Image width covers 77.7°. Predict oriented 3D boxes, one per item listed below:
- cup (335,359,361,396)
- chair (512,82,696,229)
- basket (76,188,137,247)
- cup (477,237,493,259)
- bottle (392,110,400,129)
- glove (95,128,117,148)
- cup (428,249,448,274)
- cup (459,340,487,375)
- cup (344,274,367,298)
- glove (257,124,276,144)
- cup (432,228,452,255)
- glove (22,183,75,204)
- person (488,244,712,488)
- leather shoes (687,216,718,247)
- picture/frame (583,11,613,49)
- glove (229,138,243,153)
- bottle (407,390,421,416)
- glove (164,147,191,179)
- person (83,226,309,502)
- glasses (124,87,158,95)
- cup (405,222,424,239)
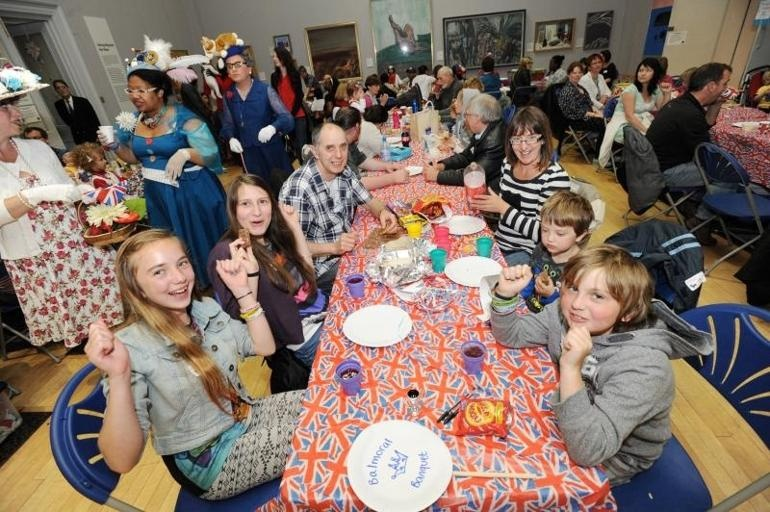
[{"bbox_3d":[-0.194,0.637,2.557,0.142,0.118,0.149,-4,37,3],"label":"cup"},{"bbox_3d":[2.317,-0.817,4.831,1.040,1.737,1.264,-38,45,-26],"label":"chair"},{"bbox_3d":[-2.221,-0.286,3.884,0.545,0.199,0.431,-1,46,23],"label":"basket"},{"bbox_3d":[0.650,-0.061,3.113,0.096,0.135,0.055,4,12,8],"label":"cup"},{"bbox_3d":[0.133,-1.794,6.211,0.145,0.085,0.239,0,57,-5],"label":"bottle"},{"bbox_3d":[-2.230,-0.961,3.820,0.142,0.159,0.147,14,29,31],"label":"glove"},{"bbox_3d":[0.348,0.024,3.083,0.129,0.141,0.134,-5,38,4],"label":"cup"},{"bbox_3d":[0.476,0.540,2.581,0.143,0.157,0.146,-6,39,5],"label":"cup"},{"bbox_3d":[-0.183,0.180,2.951,0.126,0.113,0.110,0,41,0],"label":"cup"},{"bbox_3d":[-1.148,-1.193,4.604,0.183,0.074,0.136,-44,43,-2],"label":"glove"},{"bbox_3d":[0.384,-0.103,3.179,0.122,0.156,0.155,-2,27,11],"label":"cup"},{"bbox_3d":[-2.458,-0.449,3.483,0.229,0.080,0.191,0,8,9],"label":"glove"},{"bbox_3d":[1.132,0.587,2.559,0.824,1.459,0.739,-11,31,3],"label":"person"},{"bbox_3d":[2.887,-0.220,4.330,0.163,0.287,0.245,-44,41,3],"label":"leather shoes"},{"bbox_3d":[4.337,-4.603,9.767,0.629,0.736,0.046,-11,26,-9],"label":"picture/frame"},{"bbox_3d":[-1.489,-1.096,4.712,0.054,0.157,0.113,-10,41,0],"label":"glove"},{"bbox_3d":[0.149,0.751,2.466,0.063,0.104,0.086,-5,33,2],"label":"bottle"},{"bbox_3d":[-1.725,-0.763,3.955,0.155,0.279,0.074,1,-3,-2],"label":"glove"},{"bbox_3d":[-1.044,0.657,2.746,0.912,1.671,0.893,-11,39,3],"label":"person"},{"bbox_3d":[-1.908,-1.299,3.738,0.207,0.064,0.078,-7,33,-1],"label":"glasses"},{"bbox_3d":[0.200,-0.175,3.300,0.099,0.080,0.107,-3,31,2],"label":"cup"}]
